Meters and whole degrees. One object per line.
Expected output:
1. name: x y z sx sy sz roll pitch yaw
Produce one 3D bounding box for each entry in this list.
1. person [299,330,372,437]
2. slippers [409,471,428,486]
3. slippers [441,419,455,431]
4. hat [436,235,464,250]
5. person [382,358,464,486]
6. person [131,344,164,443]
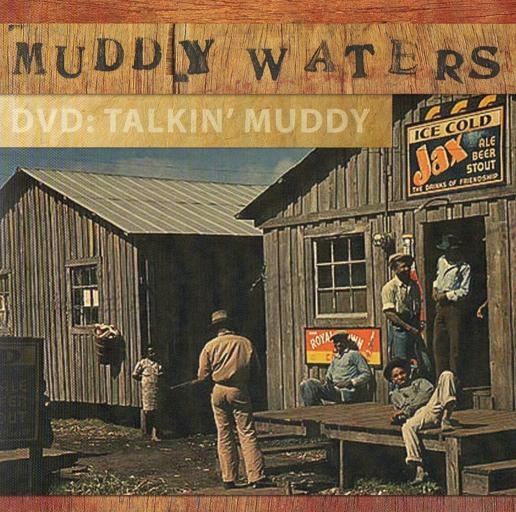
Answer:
1. person: 0.824 1.244 15.389 0.677 1.243 0.707 4 -14 -4
2. slippers: 1.560 2.208 14.859 0.175 0.165 0.093 -17 -4 15
3. slippers: 1.845 1.682 14.757 0.076 0.051 0.125 -5 10 32
4. hat: 1.933 -0.118 15.282 0.205 0.092 0.146 -4 -2 -34
5. person: 1.647 1.647 14.958 0.711 1.250 0.411 -5 -7 6
6. person: -1.163 1.447 15.596 0.311 0.996 0.217 -9 -9 33
